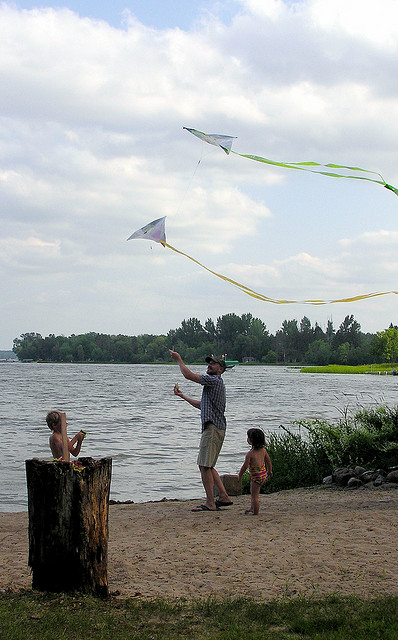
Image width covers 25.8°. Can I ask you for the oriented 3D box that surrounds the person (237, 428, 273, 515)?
[{"bbox_3d":[0.702,1.905,11.018,0.410,0.954,0.660,3,-1,3],"label":"person"}]

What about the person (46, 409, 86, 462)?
[{"bbox_3d":[-1.481,1.295,9.537,0.407,0.602,2.428,3,-2,-10],"label":"person"}]

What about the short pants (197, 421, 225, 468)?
[{"bbox_3d":[0.137,1.579,10.991,0.317,0.531,0.243,3,-1,-30],"label":"short pants"}]
